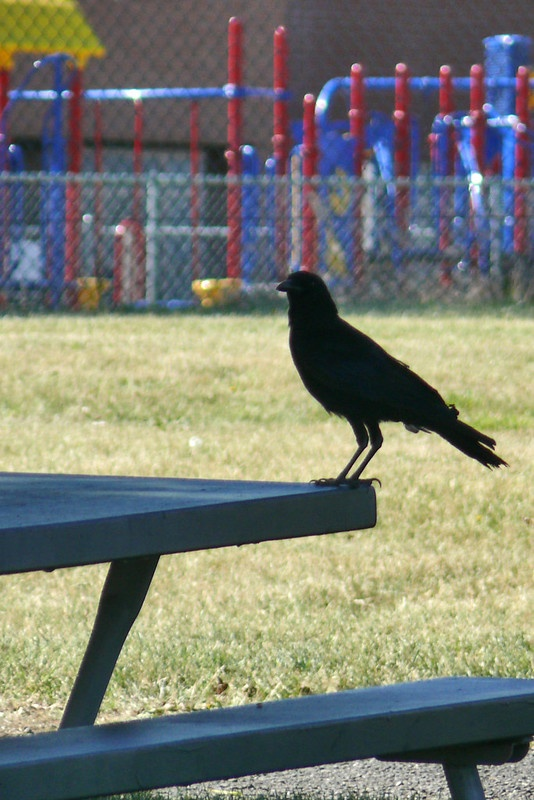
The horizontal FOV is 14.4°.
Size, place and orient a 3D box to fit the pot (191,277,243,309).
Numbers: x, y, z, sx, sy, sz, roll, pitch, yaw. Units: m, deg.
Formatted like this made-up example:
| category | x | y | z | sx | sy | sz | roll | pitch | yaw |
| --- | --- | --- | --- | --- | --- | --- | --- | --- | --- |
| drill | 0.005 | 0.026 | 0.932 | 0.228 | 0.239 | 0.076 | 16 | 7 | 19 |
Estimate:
| category | x | y | z | sx | sy | sz | roll | pitch | yaw |
| --- | --- | --- | --- | --- | --- | --- | --- | --- | --- |
| pot | -0.252 | -0.526 | 10.517 | 0.208 | 0.158 | 0.196 | 0 | 3 | 0 |
